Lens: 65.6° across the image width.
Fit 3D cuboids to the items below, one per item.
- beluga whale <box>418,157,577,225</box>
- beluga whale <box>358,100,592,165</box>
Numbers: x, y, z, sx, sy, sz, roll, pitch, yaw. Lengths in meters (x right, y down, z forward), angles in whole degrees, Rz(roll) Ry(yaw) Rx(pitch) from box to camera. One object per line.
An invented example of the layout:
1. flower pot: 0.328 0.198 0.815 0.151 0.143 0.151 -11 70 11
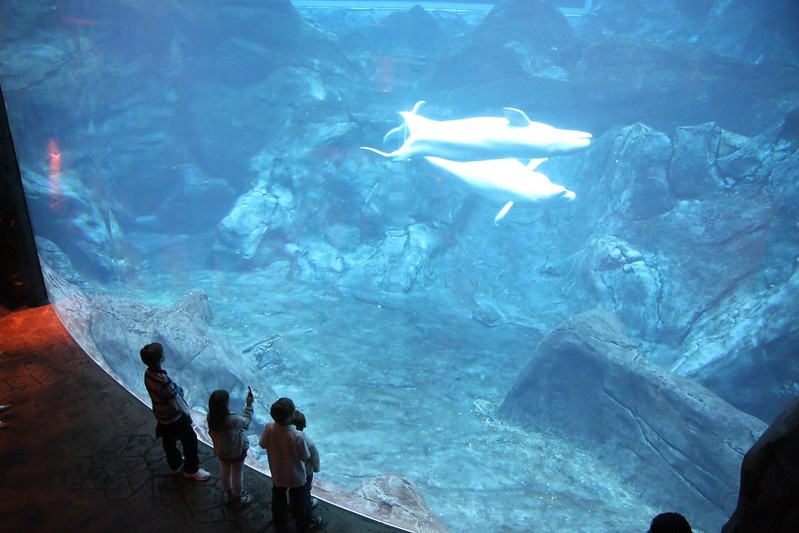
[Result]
1. beluga whale: 2.482 -2.023 15.295 3.140 1.614 0.712 19 55 34
2. beluga whale: 2.126 -2.870 14.259 4.718 1.154 2.194 2 -1 45
